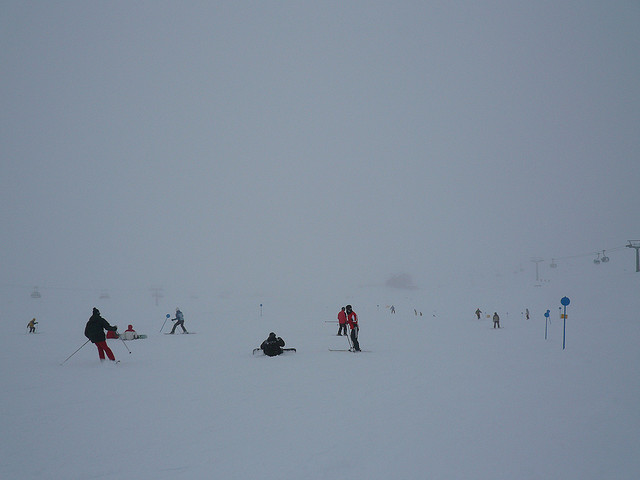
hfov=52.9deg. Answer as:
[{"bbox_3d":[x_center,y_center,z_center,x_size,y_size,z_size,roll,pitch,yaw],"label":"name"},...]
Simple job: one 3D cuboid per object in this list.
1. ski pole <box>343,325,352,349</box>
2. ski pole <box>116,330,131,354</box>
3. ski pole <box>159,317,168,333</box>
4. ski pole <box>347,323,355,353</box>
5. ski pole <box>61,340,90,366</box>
[{"bbox_3d":[0.364,1.258,8.535,0.037,0.040,0.336,-20,-83,-29],"label":"ski pole"},{"bbox_3d":[-2.500,1.282,8.210,0.023,0.034,0.343,-16,-74,30],"label":"ski pole"},{"bbox_3d":[-1.971,1.048,8.092,0.020,0.024,0.228,27,-72,-2],"label":"ski pole"},{"bbox_3d":[0.416,1.268,8.469,0.037,0.040,0.403,2,-71,31],"label":"ski pole"},{"bbox_3d":[-3.052,1.397,8.000,0.400,0.072,0.018,-38,-79,-19],"label":"ski pole"}]
